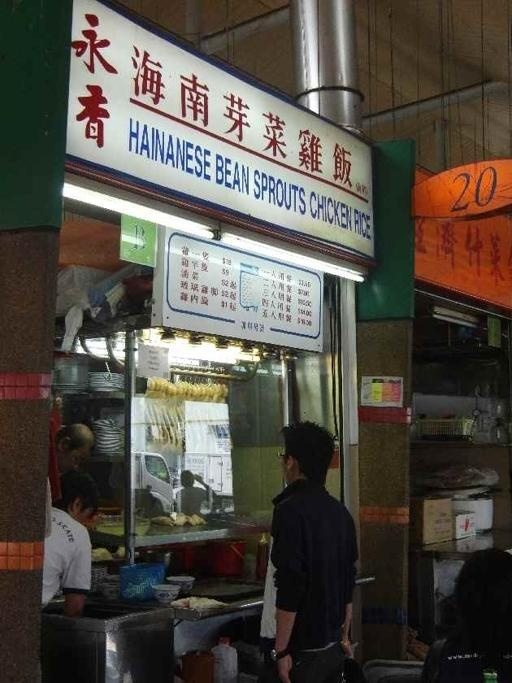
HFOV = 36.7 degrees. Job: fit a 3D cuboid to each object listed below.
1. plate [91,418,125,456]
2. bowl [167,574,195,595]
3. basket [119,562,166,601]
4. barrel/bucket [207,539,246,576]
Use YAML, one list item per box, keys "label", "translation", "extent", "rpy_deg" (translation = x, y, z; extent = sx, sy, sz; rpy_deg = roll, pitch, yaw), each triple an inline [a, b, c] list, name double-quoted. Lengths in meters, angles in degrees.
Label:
- label: "plate"
  translation: [-0.739, 0.488, 3.882]
  extent: [0.066, 0.155, 0.181]
  rpy_deg: [-4, 2, 7]
- label: "bowl"
  translation: [-0.335, 1.063, 3.401]
  extent: [0.110, 0.074, 0.112]
  rpy_deg: [2, -10, 0]
- label: "basket"
  translation: [-0.477, 1.042, 3.231]
  extent: [0.113, 0.151, 0.208]
  rpy_deg: [0, -6, 26]
- label: "barrel/bucket"
  translation: [-0.153, 1.069, 3.825]
  extent: [0.163, 0.137, 0.161]
  rpy_deg: [2, -13, 0]
